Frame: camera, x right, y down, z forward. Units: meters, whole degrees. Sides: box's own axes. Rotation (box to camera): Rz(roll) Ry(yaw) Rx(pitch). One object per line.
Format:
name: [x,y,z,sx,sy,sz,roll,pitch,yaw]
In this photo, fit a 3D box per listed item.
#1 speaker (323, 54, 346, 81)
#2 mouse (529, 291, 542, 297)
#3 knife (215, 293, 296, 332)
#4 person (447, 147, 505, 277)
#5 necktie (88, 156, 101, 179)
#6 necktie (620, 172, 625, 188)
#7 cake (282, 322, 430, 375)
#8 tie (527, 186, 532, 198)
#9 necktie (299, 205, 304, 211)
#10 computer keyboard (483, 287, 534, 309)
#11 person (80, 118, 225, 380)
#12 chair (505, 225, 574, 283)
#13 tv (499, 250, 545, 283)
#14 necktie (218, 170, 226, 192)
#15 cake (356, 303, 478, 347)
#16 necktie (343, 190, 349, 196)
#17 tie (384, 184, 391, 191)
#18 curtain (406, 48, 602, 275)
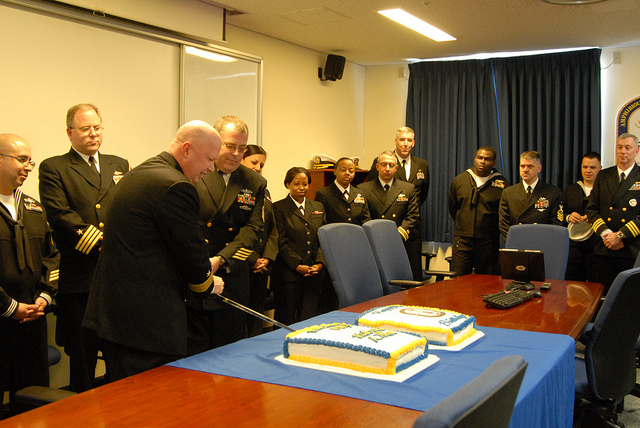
speaker: [0.198,-2.035,6.653,0.305,0.239,0.408,15,-35,2]
mouse: [1.533,0.563,3.425,0.071,0.021,0.056,3,5,41]
knife: [-0.399,0.530,2.633,0.028,0.012,0.538,-32,-51,27]
person: [1.804,-0.013,5.586,0.616,1.460,0.657,3,8,16]
necktie: [-1.613,-0.321,3.448,0.043,0.182,0.033,-19,-18,-40]
necktie: [3.138,-0.350,4.985,0.037,0.138,0.085,6,10,35]
cake: [0.166,0.620,2.273,0.658,0.125,0.246,2,8,15]
tie: [2.290,-0.221,5.263,0.040,0.118,0.007,-5,-25,22]
necktie: [-0.190,-0.048,4.749,0.044,0.058,0.014,-5,1,-15]
computer keyboard: [1.300,0.562,3.291,0.213,0.045,0.507,7,10,40]
person: [-0.929,0.414,2.713,0.757,1.836,0.587,1,19,-22]
chair: [2.016,0.322,4.329,0.496,0.660,0.565,0,0,24]
tv: [1.556,0.403,3.712,0.336,0.244,0.154,-1,3,41]
necktie: [-0.625,-0.210,3.061,0.024,0.093,0.089,-10,26,0]
cake: [0.513,0.566,2.576,0.400,0.100,0.260,4,7,33]
necktie: [0.270,-0.213,5.162,0.070,0.062,0.016,-2,1,-12]
tie: [0.745,-0.279,5.360,0.056,0.069,0.018,5,-7,8]
curtain: [2.456,-0.851,6.656,2.485,2.580,0.353,3,9,20]
